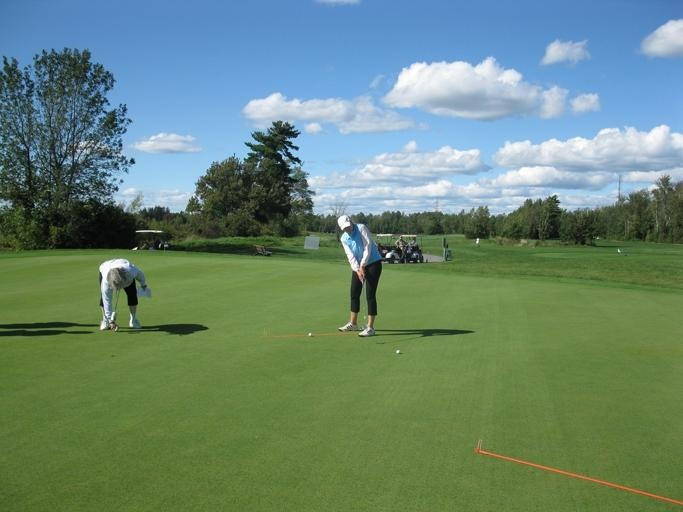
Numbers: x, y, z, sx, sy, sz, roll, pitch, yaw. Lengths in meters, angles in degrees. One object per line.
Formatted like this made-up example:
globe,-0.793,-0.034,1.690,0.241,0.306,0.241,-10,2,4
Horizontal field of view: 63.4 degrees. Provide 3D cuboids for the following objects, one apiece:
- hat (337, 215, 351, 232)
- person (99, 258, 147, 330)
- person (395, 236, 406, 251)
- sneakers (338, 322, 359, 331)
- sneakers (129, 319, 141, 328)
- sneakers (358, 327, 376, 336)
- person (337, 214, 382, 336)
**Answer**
hat,0.056,-0.520,8.904,0.204,0.264,0.423,0,13,-2
person,-3.530,0.598,9.005,0.839,1.205,1.678,-3,-5,-28
person,3.342,-0.744,30.911,0.507,0.463,0.757,-1,-5,1
sneakers,0.106,1.148,8.994,0.336,0.169,0.127,2,-4,-14
sneakers,-3.300,1.095,8.861,0.148,0.196,0.188,1,-10,2
sneakers,0.405,1.179,8.643,0.097,0.116,0.274,-4,-10,36
person,0.301,0.265,9.138,0.670,1.974,1.558,1,12,3
